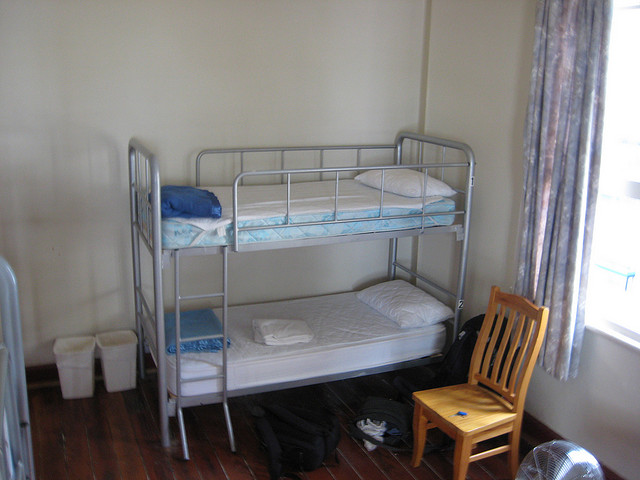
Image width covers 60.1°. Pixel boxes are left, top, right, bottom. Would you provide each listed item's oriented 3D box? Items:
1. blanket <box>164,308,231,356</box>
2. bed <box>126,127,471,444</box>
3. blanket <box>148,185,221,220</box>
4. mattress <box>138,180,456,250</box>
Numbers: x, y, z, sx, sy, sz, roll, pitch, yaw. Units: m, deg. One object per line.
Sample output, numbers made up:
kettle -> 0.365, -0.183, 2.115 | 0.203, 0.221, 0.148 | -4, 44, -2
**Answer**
blanket -> -0.956, 0.673, 4.249 | 0.431, 0.116, 0.407 | -1, 27, -28
bed -> -0.208, 0.380, 4.383 | 1.914, 1.677, 1.187 | -7, 25, -21
blanket -> -0.951, -0.266, 3.906 | 0.465, 0.163, 0.545 | -7, 18, -16
mattress -> -0.165, -0.264, 4.245 | 2.254, 0.437, 0.725 | -8, 18, -20
